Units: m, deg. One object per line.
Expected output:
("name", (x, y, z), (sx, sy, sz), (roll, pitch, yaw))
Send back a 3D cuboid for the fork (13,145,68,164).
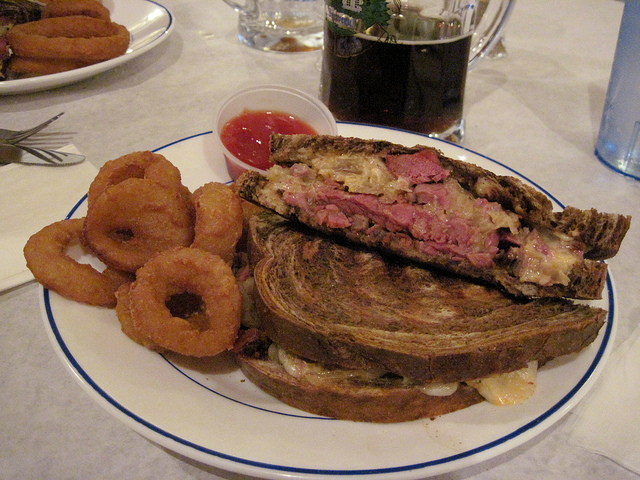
("fork", (-1.469, -0.437, 3.085), (0.328, 0.017, 0.093), (19, 43, 7))
